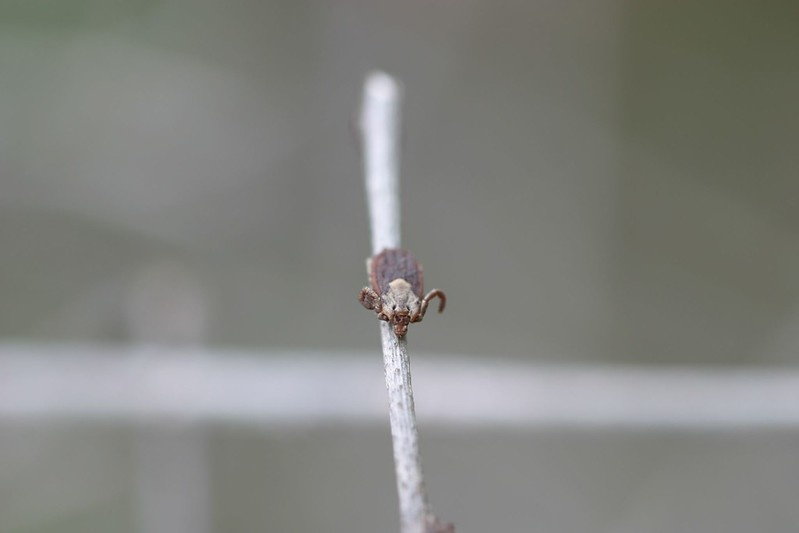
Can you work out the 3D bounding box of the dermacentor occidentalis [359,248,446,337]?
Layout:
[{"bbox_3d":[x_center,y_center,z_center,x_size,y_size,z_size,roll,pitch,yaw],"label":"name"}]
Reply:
[{"bbox_3d":[0.000,0.048,2.571,0.188,0.276,0.084,-2,-51,-10],"label":"dermacentor occidentalis"}]
